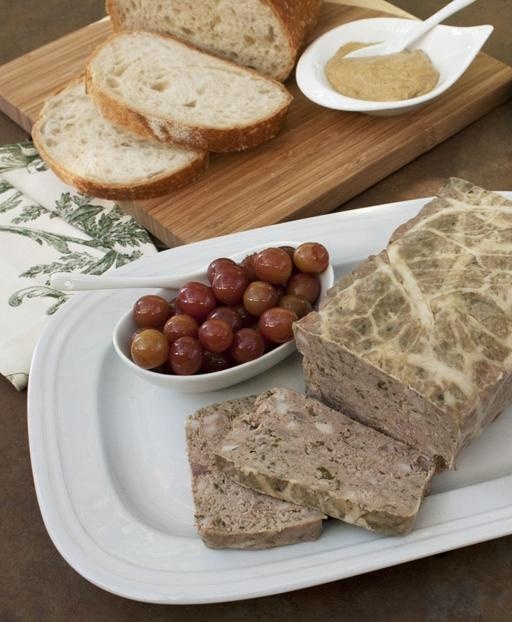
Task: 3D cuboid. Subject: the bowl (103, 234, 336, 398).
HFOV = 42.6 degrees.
[{"bbox_3d":[-0.034,0.049,1.464,0.513,0.104,0.336,-25,46,-25],"label":"bowl"}]
